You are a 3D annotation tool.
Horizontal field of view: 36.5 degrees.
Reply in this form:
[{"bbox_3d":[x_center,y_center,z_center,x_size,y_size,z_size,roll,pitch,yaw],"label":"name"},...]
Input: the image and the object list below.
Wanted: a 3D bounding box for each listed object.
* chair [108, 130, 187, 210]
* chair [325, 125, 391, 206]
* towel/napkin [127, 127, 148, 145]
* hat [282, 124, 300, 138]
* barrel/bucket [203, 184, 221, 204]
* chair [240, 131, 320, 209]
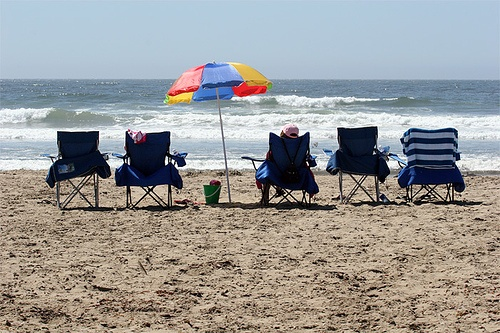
[{"bbox_3d":[-1.772,0.115,13.572,1.526,1.590,1.235,0,0,-6],"label":"chair"},{"bbox_3d":[1.948,0.024,13.813,1.331,1.494,1.292,0,-5,-1],"label":"chair"},{"bbox_3d":[-1.970,-0.523,13.133,0.321,0.213,0.331,-11,17,-38],"label":"towel/napkin"},{"bbox_3d":[0.697,-0.668,13.491,0.205,0.238,0.272,2,23,-23],"label":"hat"},{"bbox_3d":[-0.692,0.476,13.525,0.321,0.242,0.315,0,-5,0],"label":"barrel/bucket"},{"bbox_3d":[0.632,0.033,13.310,1.061,1.379,0.675,-1,14,0],"label":"chair"}]
